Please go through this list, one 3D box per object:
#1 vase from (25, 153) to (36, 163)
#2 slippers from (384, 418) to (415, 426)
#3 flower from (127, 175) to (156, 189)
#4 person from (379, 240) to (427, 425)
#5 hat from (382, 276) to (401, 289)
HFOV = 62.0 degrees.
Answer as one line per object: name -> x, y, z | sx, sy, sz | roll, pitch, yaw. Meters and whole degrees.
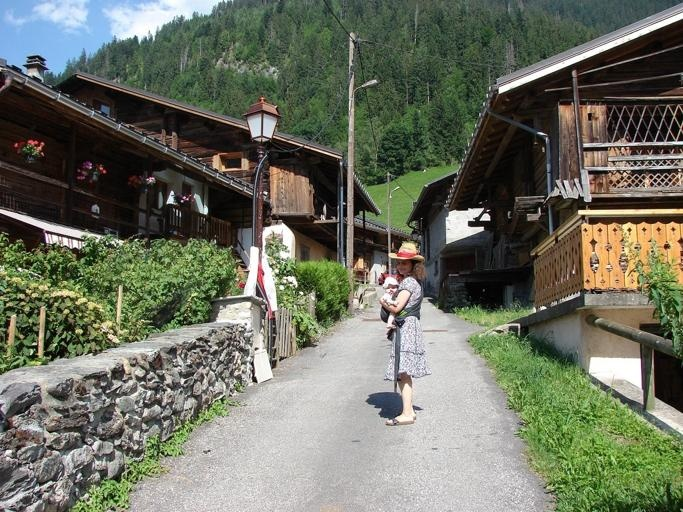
vase -> -7.567, -2.401, 13.784 | 0.275, 0.233, 0.257 | 5, -7, -33
slippers -> 0.785, 2.239, 7.636 | 0.309, 0.102, 0.159 | 3, -12, -3
flower -> -5.909, -2.215, 16.868 | 0.552, 0.358, 0.619 | 1, -4, -3
person -> 0.851, 1.056, 7.607 | 0.601, 2.449, 0.589 | -1, 1, 4
hat -> 0.828, 0.444, 9.449 | 0.257, 0.145, 0.408 | 0, -1, -2
